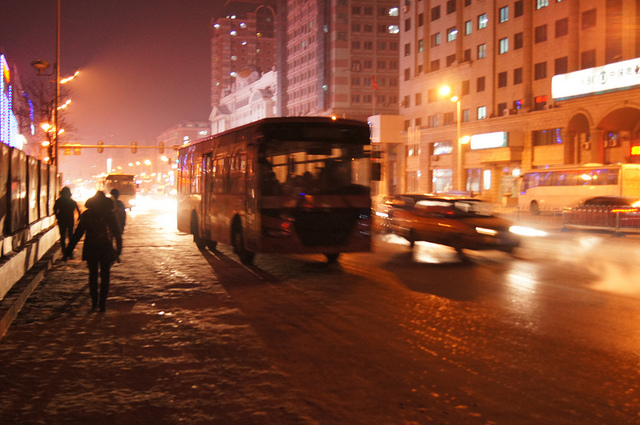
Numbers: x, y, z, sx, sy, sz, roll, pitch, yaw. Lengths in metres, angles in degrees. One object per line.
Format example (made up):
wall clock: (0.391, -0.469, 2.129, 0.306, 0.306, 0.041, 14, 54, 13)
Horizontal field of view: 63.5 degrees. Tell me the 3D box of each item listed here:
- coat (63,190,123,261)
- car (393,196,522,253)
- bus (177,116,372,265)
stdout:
coat: (-4.449, 0.219, 10.308, 0.873, 1.319, 1.558, -1, 3, -24)
car: (4.540, 0.331, 17.836, 1.366, 1.761, 3.856, -2, 4, -35)
bus: (-2.234, -0.734, 18.451, 3.955, 3.952, 10.840, -1, 3, -25)
